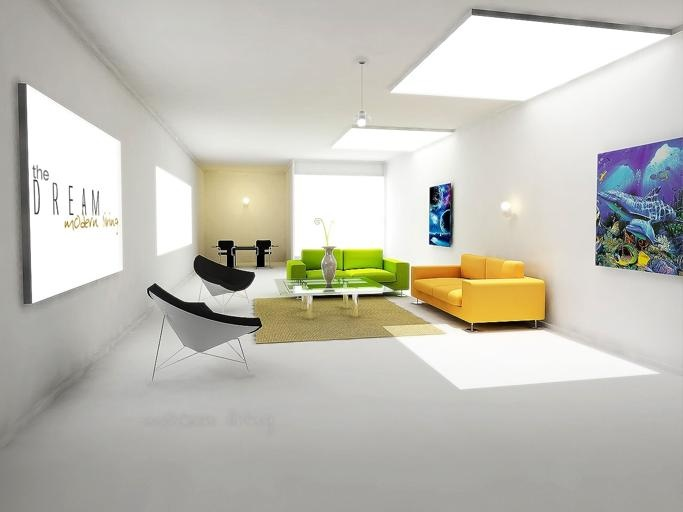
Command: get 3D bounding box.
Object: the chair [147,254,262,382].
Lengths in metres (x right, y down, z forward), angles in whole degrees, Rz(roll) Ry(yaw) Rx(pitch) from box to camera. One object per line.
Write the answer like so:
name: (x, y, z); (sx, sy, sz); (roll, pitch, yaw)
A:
chair: (-1.374, 0.615, 4.307); (1.066, 0.940, 0.930); (2, 2, -12)

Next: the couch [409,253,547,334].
couch: (2.005, 0.436, 6.579); (1.209, 0.911, 2.031); (-2, 9, -14)

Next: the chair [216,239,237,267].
chair: (-3.455, -0.094, 12.675); (0.731, 1.039, 0.653); (0, 5, -3)
